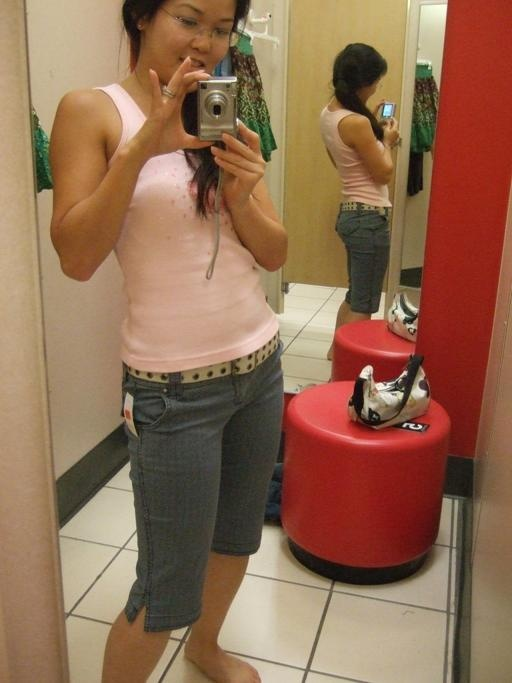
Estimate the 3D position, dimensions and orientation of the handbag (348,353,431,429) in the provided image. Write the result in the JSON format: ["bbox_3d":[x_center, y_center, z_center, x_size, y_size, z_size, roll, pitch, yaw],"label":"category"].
[{"bbox_3d":[0.350,0.123,1.573,0.235,0.150,0.121,-14,21,-32],"label":"handbag"}]

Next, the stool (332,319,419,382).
[{"bbox_3d":[0.368,0.019,1.926,0.216,0.150,0.209,-10,30,-20],"label":"stool"}]

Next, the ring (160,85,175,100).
[{"bbox_3d":[-0.092,-0.260,0.632,0.015,0.011,0.007,5,21,14],"label":"ring"}]

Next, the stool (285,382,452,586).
[{"bbox_3d":[0.281,0.358,1.625,0.420,0.363,0.355,6,21,17],"label":"stool"}]

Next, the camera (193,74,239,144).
[{"bbox_3d":[-0.046,-0.273,0.708,0.052,0.067,0.056,-3,33,-7],"label":"camera"}]

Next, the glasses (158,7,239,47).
[{"bbox_3d":[-0.066,-0.380,0.720,0.090,0.037,0.033,-12,23,-28],"label":"glasses"}]
